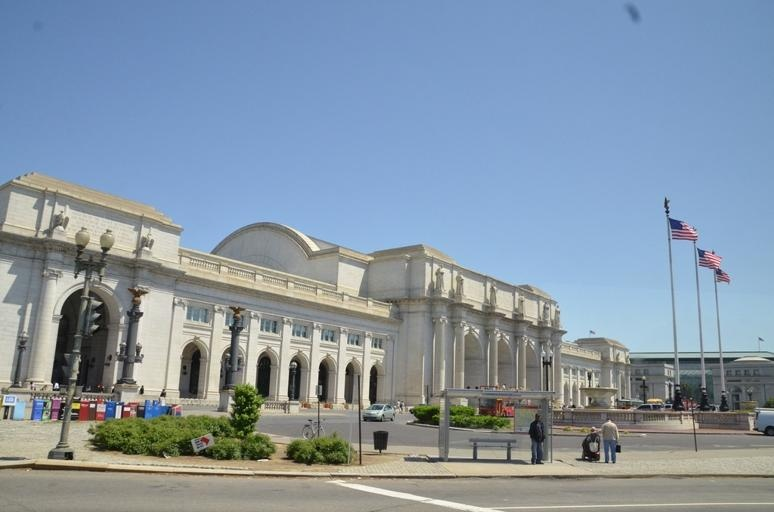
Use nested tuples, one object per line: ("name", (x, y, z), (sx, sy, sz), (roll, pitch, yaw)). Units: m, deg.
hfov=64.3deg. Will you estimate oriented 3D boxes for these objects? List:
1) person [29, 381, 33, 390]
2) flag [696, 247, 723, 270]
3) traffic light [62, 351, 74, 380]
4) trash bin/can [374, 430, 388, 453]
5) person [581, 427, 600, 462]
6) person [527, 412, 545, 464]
("person", (-28.110, 10.124, 48.480), (0.305, 0.625, 1.614), (10, -19, -29))
("flag", (28.323, 0.348, 54.238), (2.332, 1.554, 0.302), (6, -18, -2))
("traffic light", (-13.512, 4.641, 25.967), (0.353, 1.018, 0.614), (9, -19, -25))
("trash bin/can", (-0.356, 9.753, 32.480), (0.643, 1.074, 1.163), (2, -17, -4))
("person", (10.789, 9.988, 32.717), (0.946, 1.634, 1.212), (-5, -18, 15))
("person", (7.620, 9.199, 31.134), (0.781, 2.427, 1.245), (-3, -18, 11))
